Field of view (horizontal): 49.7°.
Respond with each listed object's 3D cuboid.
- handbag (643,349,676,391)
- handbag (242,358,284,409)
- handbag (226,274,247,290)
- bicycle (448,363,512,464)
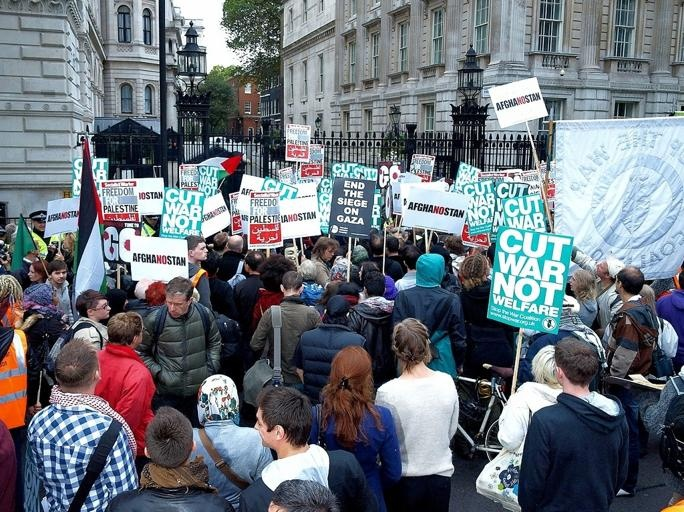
[{"bbox_3d":[3.333,1.207,7.783,0.158,0.393,0.271,-1,4,-10],"label":"handbag"},{"bbox_3d":[-0.922,1.482,8.152,0.206,0.396,0.361,26,-20,-27],"label":"handbag"},{"bbox_3d":[-1.470,0.342,10.201,0.191,0.219,0.088,29,4,18],"label":"handbag"},{"bbox_3d":[1.703,1.859,8.821,0.498,0.774,1.052,10,15,-39],"label":"bicycle"}]
